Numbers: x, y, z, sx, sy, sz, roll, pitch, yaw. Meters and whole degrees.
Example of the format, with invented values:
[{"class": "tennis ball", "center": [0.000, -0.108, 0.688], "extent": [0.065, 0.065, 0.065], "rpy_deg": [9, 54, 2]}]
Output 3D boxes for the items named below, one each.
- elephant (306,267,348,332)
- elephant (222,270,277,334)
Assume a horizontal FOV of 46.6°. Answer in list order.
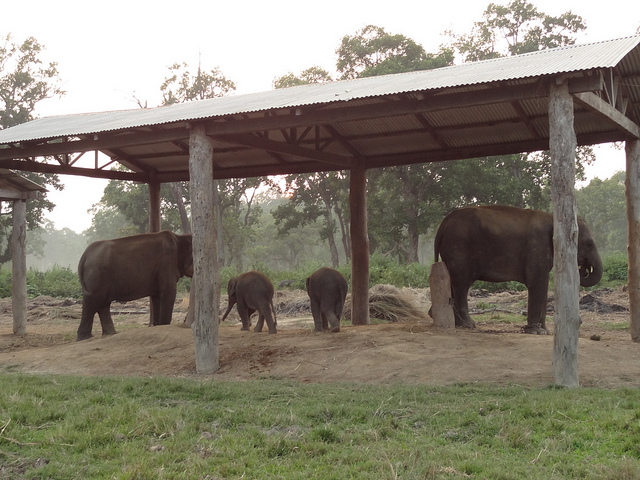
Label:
[{"class": "elephant", "center": [0.069, 1.376, 17.200], "extent": [0.780, 1.609, 1.816], "rpy_deg": [-5, -2, -24]}, {"class": "elephant", "center": [-1.725, 1.466, 17.674], "extent": [0.673, 1.450, 2.150], "rpy_deg": [-4, 2, -41]}]
